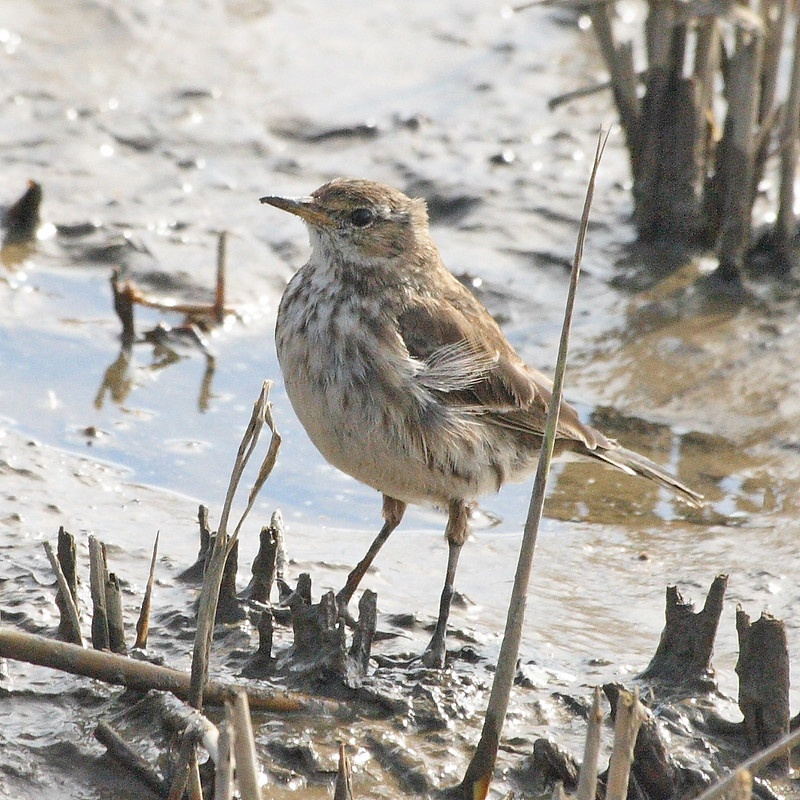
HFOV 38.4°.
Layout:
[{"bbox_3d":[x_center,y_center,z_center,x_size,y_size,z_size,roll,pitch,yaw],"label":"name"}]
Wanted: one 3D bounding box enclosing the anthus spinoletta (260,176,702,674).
[{"bbox_3d":[0.044,0.121,5.457,2.019,2.220,1.269,-5,12,-43],"label":"anthus spinoletta"}]
